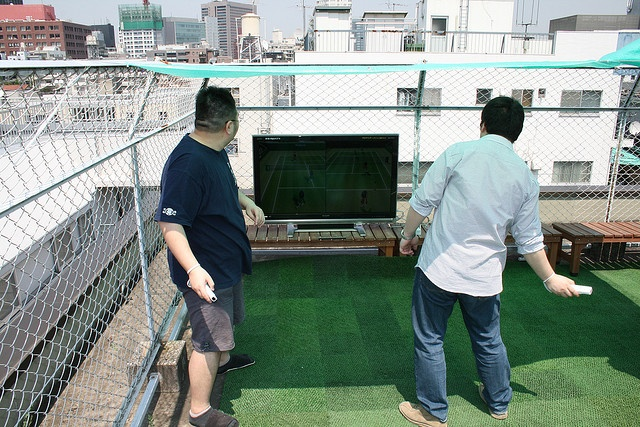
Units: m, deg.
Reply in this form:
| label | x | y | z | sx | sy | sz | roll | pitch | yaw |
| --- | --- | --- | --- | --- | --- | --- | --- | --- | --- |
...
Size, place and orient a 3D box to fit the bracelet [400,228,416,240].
| label | x | y | z | sx | sy | sz | roll | pitch | yaw |
| --- | --- | --- | --- | --- | --- | --- | --- | --- | --- |
| bracelet | 0.756 | 0.179 | 3.737 | 0.137 | 0.073 | 0.183 | -6 | -18 | -5 |

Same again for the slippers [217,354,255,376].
| label | x | y | z | sx | sy | sz | roll | pitch | yaw |
| --- | --- | --- | --- | --- | --- | --- | --- | --- | --- |
| slippers | -0.827 | 1.463 | 4.238 | 0.352 | 0.145 | 0.128 | -9 | 16 | -31 |

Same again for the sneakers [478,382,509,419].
| label | x | y | z | sx | sy | sz | roll | pitch | yaw |
| --- | --- | --- | --- | --- | --- | --- | --- | --- | --- |
| sneakers | 1.538 | 1.692 | 3.808 | 0.114 | 0.133 | 0.333 | -8 | 52 | 4 |
